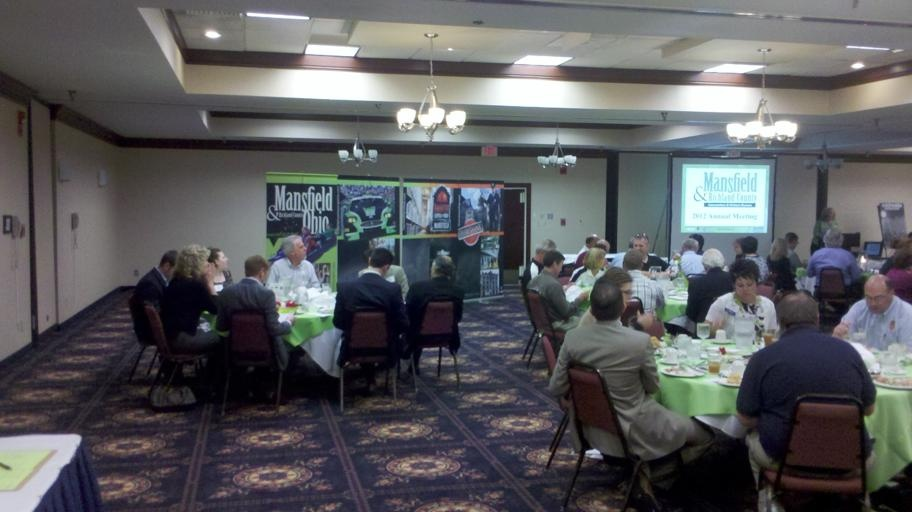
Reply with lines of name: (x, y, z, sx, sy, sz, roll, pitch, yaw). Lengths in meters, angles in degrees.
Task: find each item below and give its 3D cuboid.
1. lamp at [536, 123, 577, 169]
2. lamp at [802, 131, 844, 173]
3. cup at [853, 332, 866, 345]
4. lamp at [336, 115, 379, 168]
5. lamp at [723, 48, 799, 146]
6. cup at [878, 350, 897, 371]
lamp: (2.553, -2.745, 15.208, 1.114, 1.183, 1.066, 0, -1, 3)
lamp: (9.576, -2.772, 15.826, 1.186, 0.929, 0.557, -1, -1, 1)
cup: (4.303, 0.886, 6.469, 0.127, 0.085, 0.113, -2, 5, -3)
lamp: (-2.429, -2.754, 15.138, 1.115, 1.433, 1.058, 1, 1, -21)
lamp: (5.373, -2.730, 10.605, 0.994, 1.600, 1.954, 6, 15, 23)
cup: (4.354, 1.061, 6.083, 0.197, 0.202, 0.186, -1, -3, 0)
